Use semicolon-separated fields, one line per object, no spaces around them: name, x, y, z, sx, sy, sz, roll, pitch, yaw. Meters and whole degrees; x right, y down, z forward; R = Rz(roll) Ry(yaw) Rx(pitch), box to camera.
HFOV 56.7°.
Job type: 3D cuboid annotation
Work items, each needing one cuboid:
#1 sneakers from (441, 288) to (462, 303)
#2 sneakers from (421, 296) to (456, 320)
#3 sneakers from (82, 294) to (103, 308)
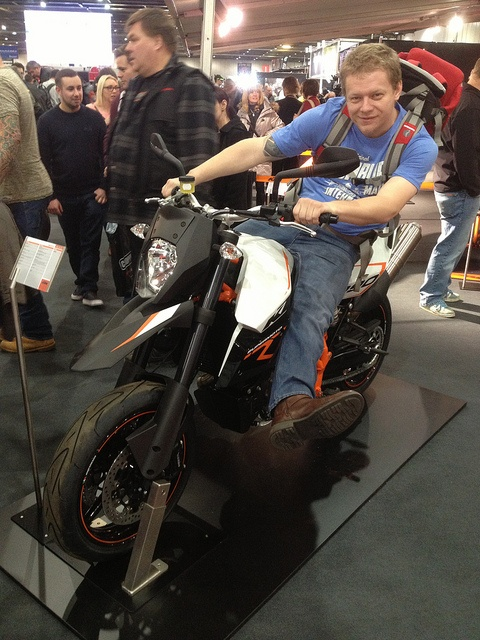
sneakers;2.246;-0.255;4.733;0.098;0.109;0.269;9;18;35
sneakers;1.938;-0.127;4.393;0.304;0.125;0.134;23;41;34
sneakers;-1.392;-0.181;4.182;0.092;0.095;0.245;0;5;-42
